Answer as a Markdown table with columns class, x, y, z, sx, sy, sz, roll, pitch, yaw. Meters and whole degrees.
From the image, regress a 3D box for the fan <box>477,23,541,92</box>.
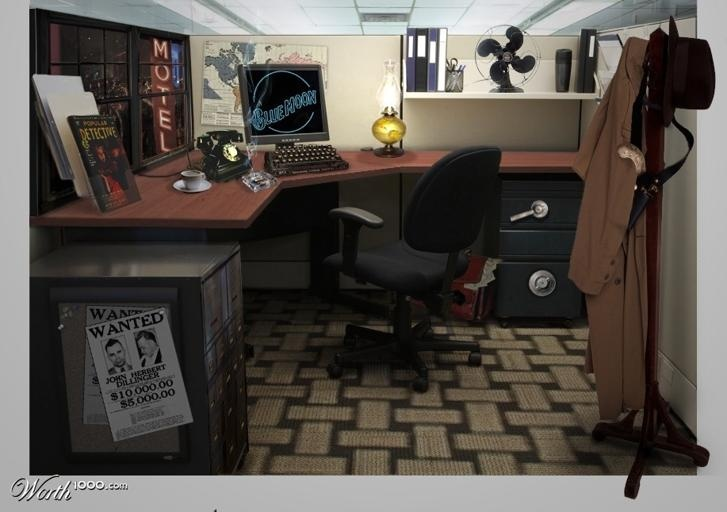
| class | x | y | z | sx | sy | sz | roll | pitch | yaw |
| --- | --- | --- | --- | --- | --- | --- | --- | --- | --- |
| fan | 0.936 | -1.290 | 3.457 | 0.404 | 0.398 | 0.244 | 4 | 23 | 16 |

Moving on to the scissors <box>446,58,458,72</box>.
| class | x | y | z | sx | sy | sz | roll | pitch | yaw |
| --- | --- | --- | --- | --- | --- | --- | --- | --- | --- |
| scissors | 0.584 | -1.255 | 3.470 | 0.067 | 0.123 | 0.028 | 2 | -13 | -3 |

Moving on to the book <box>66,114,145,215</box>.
| class | x | y | z | sx | sy | sz | roll | pitch | yaw |
| --- | --- | --- | --- | --- | --- | --- | --- | --- | --- |
| book | -1.031 | -0.391 | 2.148 | 0.138 | 0.370 | 0.294 | 3 | 23 | 13 |

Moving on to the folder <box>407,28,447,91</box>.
| class | x | y | z | sx | sy | sz | roll | pitch | yaw |
| --- | --- | --- | --- | --- | --- | --- | --- | --- | --- |
| folder | 0.402 | -1.249 | 3.368 | 0.313 | 0.462 | 0.334 | 0 | 17 | 4 |

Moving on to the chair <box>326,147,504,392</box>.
| class | x | y | z | sx | sy | sz | roll | pitch | yaw |
| --- | --- | --- | --- | --- | --- | --- | --- | --- | --- |
| chair | 0.253 | 0.006 | 2.854 | 0.796 | 1.239 | 0.870 | -2 | 12 | -15 |

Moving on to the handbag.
| class | x | y | z | sx | sy | sz | roll | pitch | yaw |
| --- | --- | --- | --- | --- | --- | --- | --- | --- | --- |
| handbag | 1.159 | -0.722 | 1.990 | 0.104 | 0.315 | 0.263 | 3 | 8 | 19 |

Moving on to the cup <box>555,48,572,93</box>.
| class | x | y | z | sx | sy | sz | roll | pitch | yaw |
| --- | --- | --- | --- | --- | --- | --- | --- | --- | --- |
| cup | 1.301 | -1.201 | 3.428 | 0.109 | 0.254 | 0.083 | -1 | 21 | 3 |

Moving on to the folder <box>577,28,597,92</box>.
| class | x | y | z | sx | sy | sz | roll | pitch | yaw |
| --- | --- | --- | --- | --- | --- | --- | --- | --- | --- |
| folder | 1.420 | -1.248 | 3.358 | 0.104 | 0.330 | 0.340 | 0 | 14 | 8 |

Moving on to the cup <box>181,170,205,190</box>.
| class | x | y | z | sx | sy | sz | roll | pitch | yaw |
| --- | --- | --- | --- | --- | --- | --- | --- | --- | --- |
| cup | -0.781 | -0.355 | 2.477 | 0.089 | 0.074 | 0.113 | 4 | 6 | 30 |

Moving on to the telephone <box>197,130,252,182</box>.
| class | x | y | z | sx | sy | sz | roll | pitch | yaw |
| --- | --- | --- | --- | --- | --- | --- | --- | --- | --- |
| telephone | -0.729 | -0.526 | 2.735 | 0.235 | 0.203 | 0.348 | 3 | 23 | 12 |
